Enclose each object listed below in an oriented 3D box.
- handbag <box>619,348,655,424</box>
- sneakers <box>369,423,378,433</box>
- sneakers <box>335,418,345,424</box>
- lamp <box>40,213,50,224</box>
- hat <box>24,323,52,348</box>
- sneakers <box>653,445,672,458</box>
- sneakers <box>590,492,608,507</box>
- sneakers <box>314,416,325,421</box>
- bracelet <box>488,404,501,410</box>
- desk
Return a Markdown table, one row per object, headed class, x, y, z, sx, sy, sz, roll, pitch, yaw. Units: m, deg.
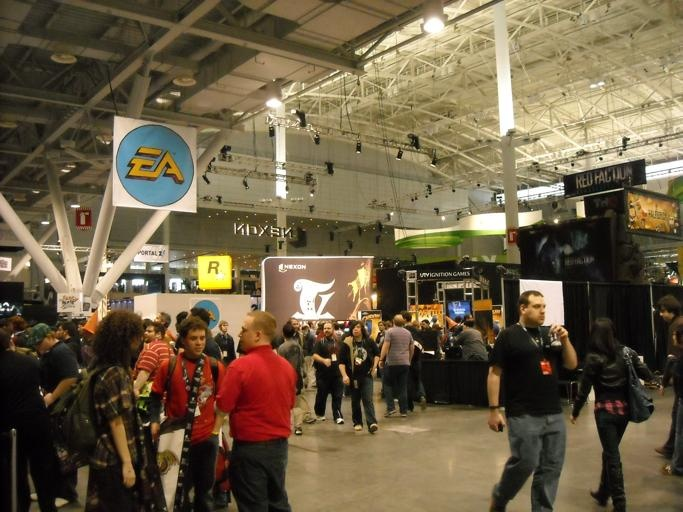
| class | x | y | z | sx | sy | sz | roll | pitch | yaw |
| --- | --- | --- | --- | --- | --- | --- | --- | --- | --- |
| handbag | 2.758 | 1.219 | 5.222 | 0.227 | 0.725 | 0.372 | -3 | -5 | 27 |
| sneakers | 0.476 | 2.607 | 8.499 | 0.074 | 0.080 | 0.199 | -10 | -33 | -13 |
| sneakers | -0.045 | 2.758 | 9.371 | 0.082 | 0.077 | 0.171 | 1 | -14 | -8 |
| lamp | -13.644 | -1.776 | 25.749 | 0.351 | 0.370 | 0.358 | 1 | -1 | 12 |
| hat | -3.093 | 0.817 | 5.729 | 0.200 | 0.237 | 0.538 | 1 | -5 | -28 |
| sneakers | 3.898 | 2.376 | 6.816 | 0.063 | 0.088 | 0.193 | 4 | 4 | -13 |
| sneakers | 2.431 | 2.290 | 5.324 | 0.068 | 0.110 | 0.155 | -14 | 31 | -7 |
| sneakers | -0.383 | 2.816 | 9.745 | 0.136 | 0.140 | 0.086 | -1 | -8 | 11 |
| bracelet | 1.237 | 1.221 | 4.529 | 0.089 | 0.044 | 0.061 | 1 | -5 | -23 |
| desk | 2.217 | 2.467 | 10.965 | 1.020 | 0.635 | 1.006 | 2 | -6 | -14 |
